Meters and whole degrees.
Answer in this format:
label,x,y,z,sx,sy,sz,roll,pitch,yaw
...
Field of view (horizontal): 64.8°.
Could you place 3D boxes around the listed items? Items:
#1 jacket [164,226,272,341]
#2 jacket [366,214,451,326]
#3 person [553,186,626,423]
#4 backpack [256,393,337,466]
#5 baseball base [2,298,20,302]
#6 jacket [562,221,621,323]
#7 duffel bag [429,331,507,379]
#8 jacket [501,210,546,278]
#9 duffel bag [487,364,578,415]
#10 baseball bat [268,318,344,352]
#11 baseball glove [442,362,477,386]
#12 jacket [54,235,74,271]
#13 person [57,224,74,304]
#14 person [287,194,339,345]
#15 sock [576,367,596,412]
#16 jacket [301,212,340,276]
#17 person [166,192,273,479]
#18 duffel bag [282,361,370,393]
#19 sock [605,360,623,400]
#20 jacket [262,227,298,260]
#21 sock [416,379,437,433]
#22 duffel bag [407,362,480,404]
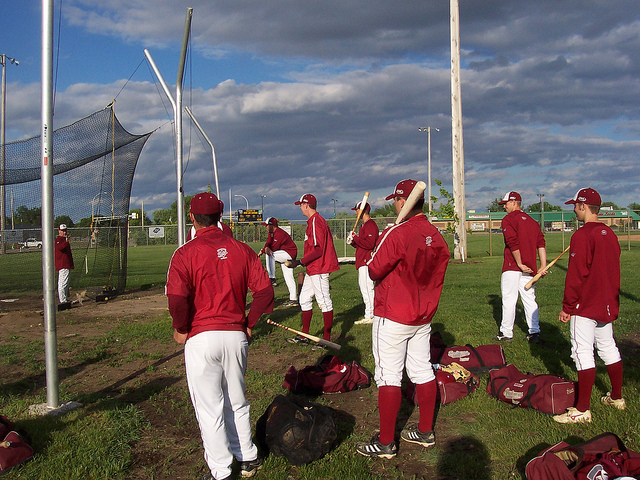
label,x,y,z,sx,sy,sz,roll,pitch,yaw
jacket,-1.156,0.484,5.768,1.190,1.222,0.459,-1,-3,-24
jacket,1.079,0.332,6.278,1.030,1.329,0.796,-2,9,-27
person,3.549,0.814,6.636,0.764,2.980,1.220,-1,4,31
backpack,-0.290,2.265,6.117,0.821,0.378,0.662,19,12,29
baseball base,-9.169,1.777,14.931,0.466,0.051,0.472,-3,3,-3
jacket,3.579,0.419,6.674,0.681,1.332,0.360,-1,4,25
duffel bag,2.211,1.961,8.214,1.386,0.451,1.029,-3,-10,-14
jacket,3.825,0.079,9.545,0.852,1.269,0.512,-1,-2,-15
duffel bag,2.906,2.063,6.967,1.161,0.468,0.489,-2,3,29
baseball bat,-0.267,1.800,9.537,1.391,0.159,0.169,24,-11,10
baseball glove,2.054,1.951,7.414,0.320,0.149,0.328,12,-3,36
jacket,-7.062,0.337,13.955,0.363,0.945,0.554,0,4,38
person,-7.043,0.620,13.953,0.338,2.122,1.127,-4,3,-20
person,-0.128,0.576,9.629,0.961,2.894,0.931,-3,-2,29
sock,3.397,1.902,6.460,0.236,0.557,0.158,-2,3,16
jacket,-0.016,0.012,9.389,0.891,1.387,1.123,1,4,10
person,-1.115,1.087,5.689,0.961,3.251,0.550,-3,3,4
duffel bag,0.105,2.035,7.914,1.336,0.539,0.959,-3,7,-3
sock,3.890,1.839,6.664,0.156,0.558,0.204,0,4,40
jacket,-1.035,0.102,13.225,0.985,1.043,0.748,-2,16,-5
sock,1.314,2.030,6.219,0.231,0.663,0.163,-2,3,10
duffel bag,1.856,2.151,7.582,0.799,0.424,1.112,-15,-11,43
